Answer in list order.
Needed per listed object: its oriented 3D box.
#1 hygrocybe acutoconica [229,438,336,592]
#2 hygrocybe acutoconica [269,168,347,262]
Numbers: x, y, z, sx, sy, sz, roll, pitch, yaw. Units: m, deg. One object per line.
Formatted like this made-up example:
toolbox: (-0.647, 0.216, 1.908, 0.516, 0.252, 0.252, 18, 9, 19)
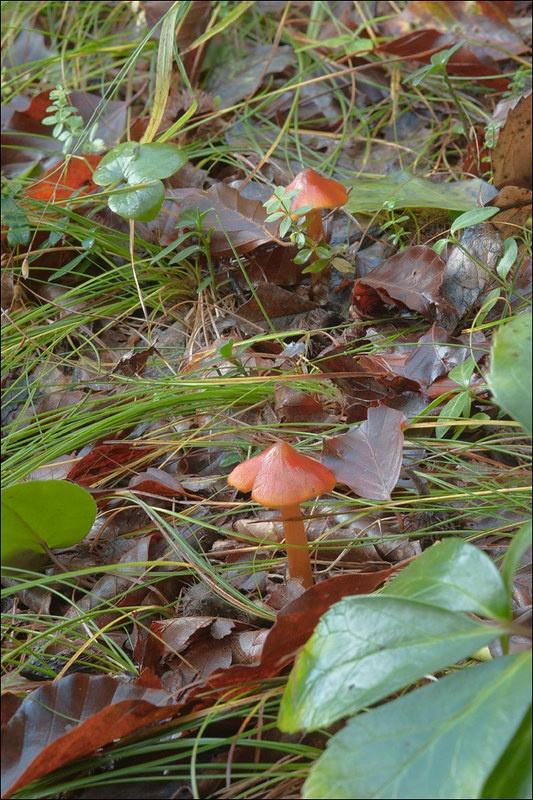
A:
hygrocybe acutoconica: (0.033, 0.224, 1.224, 0.169, 0.268, 0.182, -27, 38, -26)
hygrocybe acutoconica: (0.117, -0.465, 1.699, 0.208, 0.242, 0.210, -1, 53, 7)
